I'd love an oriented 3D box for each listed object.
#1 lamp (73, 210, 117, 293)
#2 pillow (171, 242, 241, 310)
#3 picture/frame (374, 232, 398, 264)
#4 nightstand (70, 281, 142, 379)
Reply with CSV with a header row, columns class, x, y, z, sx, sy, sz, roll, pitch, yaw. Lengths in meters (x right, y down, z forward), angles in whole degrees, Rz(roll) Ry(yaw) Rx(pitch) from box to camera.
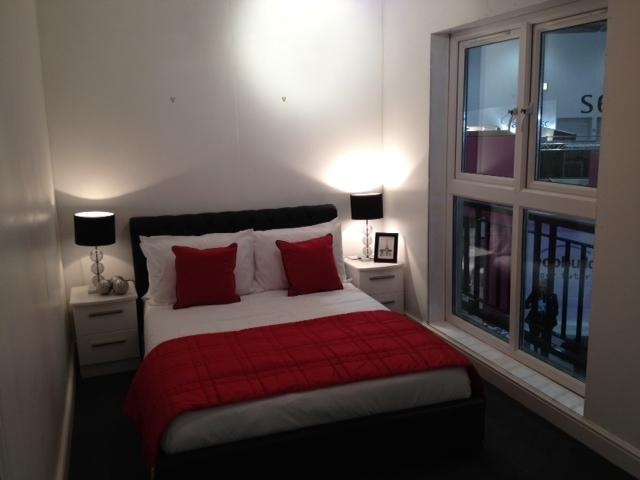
class,x,y,z,sx,sy,sz,roll,pitch,yaw
lamp,-1.872,0.093,3.917,0.323,0.647,0.399,-8,15,-25
pillow,-0.940,0.310,3.820,0.522,0.554,0.208,-2,-7,-23
picture/frame,0.653,0.088,4.592,0.259,0.386,0.036,1,-1,11
nightstand,-1.795,0.745,3.949,0.490,0.691,0.449,-4,18,-22
